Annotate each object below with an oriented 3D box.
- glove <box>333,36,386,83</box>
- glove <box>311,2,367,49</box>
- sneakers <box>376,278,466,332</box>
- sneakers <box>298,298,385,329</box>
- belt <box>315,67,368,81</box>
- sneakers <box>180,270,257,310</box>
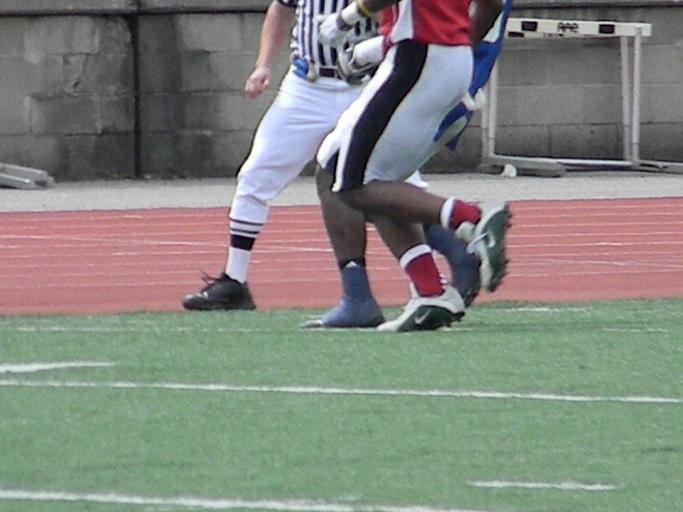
[{"bbox_3d":[0.078,-0.800,5.416,0.098,0.129,0.218,-10,-19,-34],"label":"glove"},{"bbox_3d":[-0.005,-0.945,5.383,0.208,0.144,0.076,-26,-46,31],"label":"glove"},{"bbox_3d":[0.362,0.209,5.568,0.402,0.190,0.139,-9,10,2],"label":"sneakers"},{"bbox_3d":[-0.017,0.258,5.795,0.406,0.157,0.126,0,-3,-3],"label":"sneakers"},{"bbox_3d":[0.008,-0.789,5.915,0.195,0.057,0.117,5,14,9],"label":"belt"},{"bbox_3d":[-0.537,0.179,6.152,0.397,0.204,0.136,4,-1,-5],"label":"sneakers"}]
